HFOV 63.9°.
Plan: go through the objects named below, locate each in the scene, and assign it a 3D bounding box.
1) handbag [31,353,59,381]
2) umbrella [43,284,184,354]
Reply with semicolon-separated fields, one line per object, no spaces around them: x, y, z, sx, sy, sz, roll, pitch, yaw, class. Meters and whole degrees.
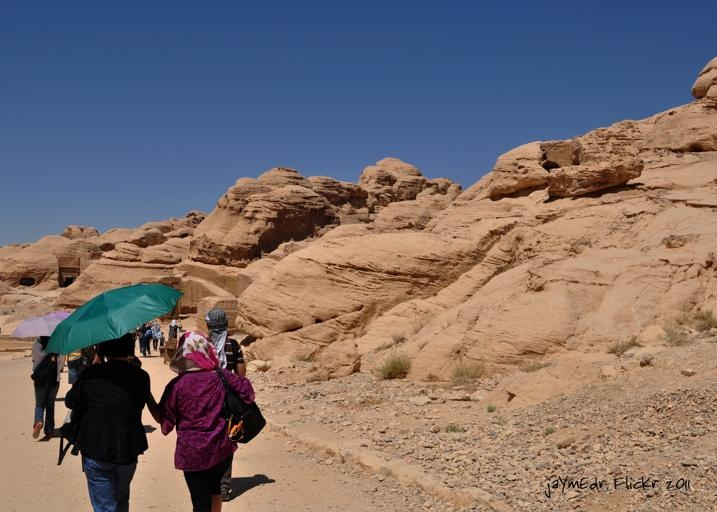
-5.023;1.797;9.181;0.368;0.471;0.189;-1;5;-22;handbag
-2.506;0.604;6.053;1.168;0.288;1.089;-2;15;37;umbrella
